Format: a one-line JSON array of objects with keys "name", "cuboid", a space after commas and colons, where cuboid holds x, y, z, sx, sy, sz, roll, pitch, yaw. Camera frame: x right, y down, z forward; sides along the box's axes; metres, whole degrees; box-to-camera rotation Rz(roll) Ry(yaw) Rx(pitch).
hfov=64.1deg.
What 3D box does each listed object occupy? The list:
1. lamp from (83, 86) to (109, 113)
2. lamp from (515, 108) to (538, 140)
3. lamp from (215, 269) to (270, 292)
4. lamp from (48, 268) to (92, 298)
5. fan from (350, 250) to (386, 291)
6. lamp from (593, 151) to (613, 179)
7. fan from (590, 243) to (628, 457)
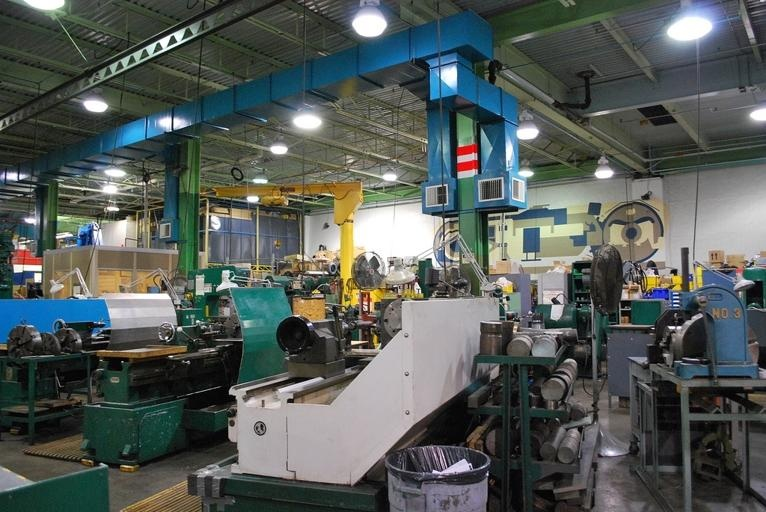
[{"name": "lamp", "cuboid": [-4.754, -2.620, 10.152, 0.291, 0.452, 0.538, 0, -2, -20]}, {"name": "lamp", "cuboid": [2.594, -2.379, 11.032, 0.306, 0.634, 1.050, 0, -2, 13]}, {"name": "lamp", "cuboid": [-1.984, 0.384, 9.081, 1.081, 0.382, 0.339, 3, -7, -25]}, {"name": "lamp", "cuboid": [-5.451, 0.489, 10.679, 0.543, 0.554, 5.162, 1, -2, -28]}, {"name": "fan", "cuboid": [-0.252, 0.246, 10.370, 0.546, 0.653, 0.370, 0, -1, -3]}, {"name": "lamp", "cuboid": [4.846, -2.001, 13.513, 0.289, 0.595, 1.110, -1, -2, 19]}, {"name": "fan", "cuboid": [2.617, 1.124, 7.049, 0.406, 2.491, 2.102, -1, -2, 19]}]
